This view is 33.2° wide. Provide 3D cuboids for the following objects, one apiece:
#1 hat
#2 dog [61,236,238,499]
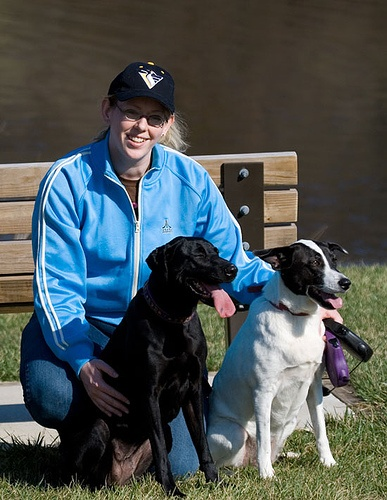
[{"bbox_3d":[-0.225,-0.790,3.012,0.291,0.182,0.360,8,17,-13],"label":"hat"},{"bbox_3d":[-0.144,0.481,2.671,0.829,0.989,0.389,-4,1,26],"label":"dog"}]
